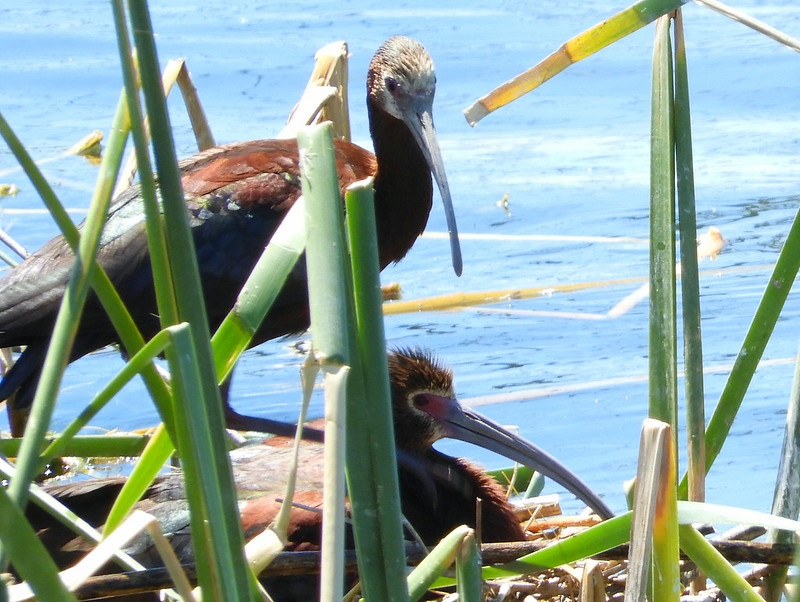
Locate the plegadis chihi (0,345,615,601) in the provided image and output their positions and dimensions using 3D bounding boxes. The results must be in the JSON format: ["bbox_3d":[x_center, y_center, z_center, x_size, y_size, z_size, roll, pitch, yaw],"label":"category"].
[{"bbox_3d":[-0.256,0.554,3.872,1.703,0.834,0.811,-1,-10,-7],"label":"plegadis chihi"}]
